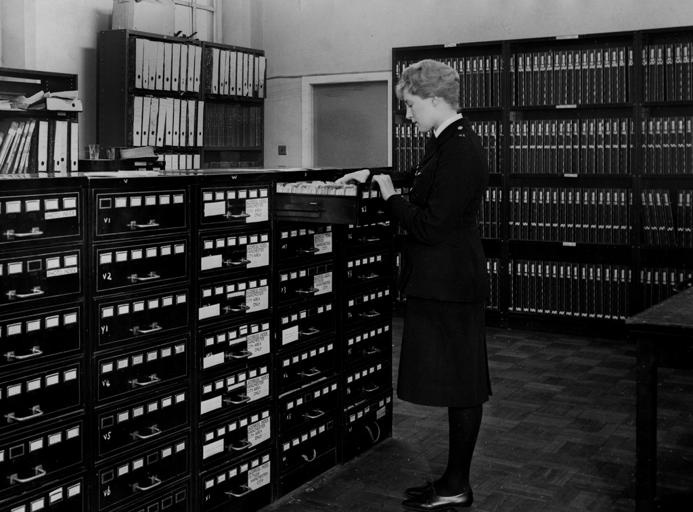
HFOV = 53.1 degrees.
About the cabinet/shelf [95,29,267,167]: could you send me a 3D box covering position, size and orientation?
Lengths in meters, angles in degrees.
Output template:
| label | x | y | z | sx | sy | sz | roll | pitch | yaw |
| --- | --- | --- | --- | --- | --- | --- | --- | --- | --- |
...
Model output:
| label | x | y | z | sx | sy | sz | roll | pitch | yaw |
| --- | --- | --- | --- | --- | --- | --- | --- | --- | --- |
| cabinet/shelf | -1.471 | -1.391 | 6.805 | 1.386 | 1.454 | 0.433 | -3 | 14 | -32 |
